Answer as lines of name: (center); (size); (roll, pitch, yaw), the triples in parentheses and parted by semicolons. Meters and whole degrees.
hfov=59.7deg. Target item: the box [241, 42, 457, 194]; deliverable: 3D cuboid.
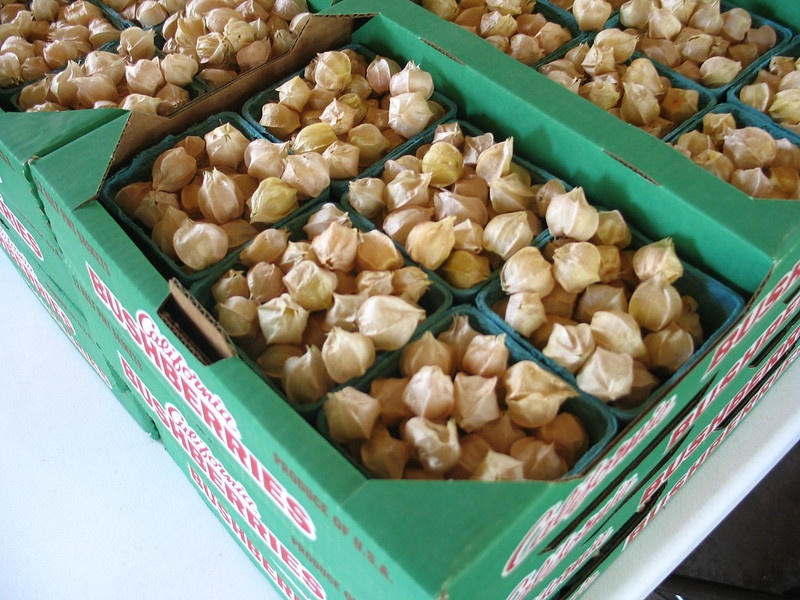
box: (-0.151, -0.578, 2.055); (0.461, 0.166, 0.484); (36, 68, 26)
